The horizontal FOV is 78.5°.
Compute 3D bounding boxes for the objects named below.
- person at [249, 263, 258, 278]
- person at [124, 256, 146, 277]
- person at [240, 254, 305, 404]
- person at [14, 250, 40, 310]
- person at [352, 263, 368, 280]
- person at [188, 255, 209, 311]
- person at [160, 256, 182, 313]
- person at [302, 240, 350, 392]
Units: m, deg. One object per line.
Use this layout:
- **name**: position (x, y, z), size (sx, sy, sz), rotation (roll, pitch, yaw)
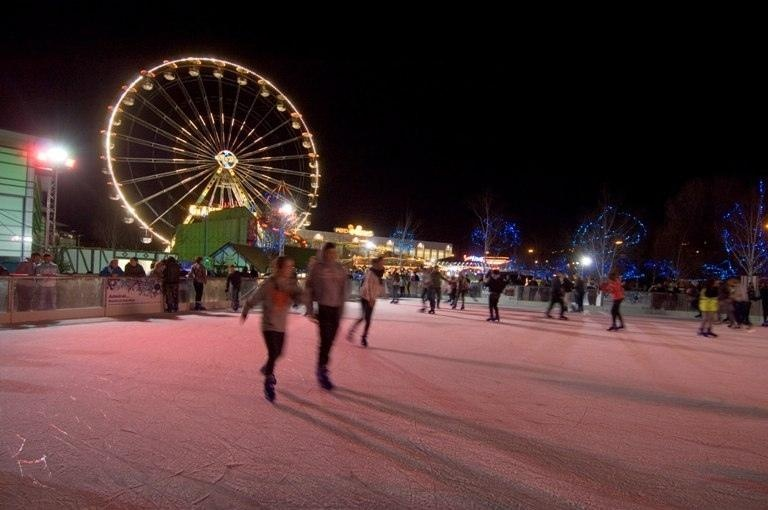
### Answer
- **person**: position (-7.069, 0.901, 25.351), size (0.443, 0.551, 0.958), rotation (3, -8, 0)
- **person**: position (-10.674, 0.536, 19.928), size (0.761, 1.334, 0.700), rotation (5, 32, -22)
- **person**: position (-1.685, 1.115, 7.343), size (0.680, 2.154, 0.765), rotation (8, 10, 38)
- **person**: position (-10.010, 0.766, 13.128), size (0.608, 1.472, 1.033), rotation (-5, 10, -37)
- **person**: position (-2.054, 1.486, 37.519), size (1.487, 0.722, 2.092), rotation (1, -3, -4)
- **person**: position (-6.812, 1.095, 17.063), size (0.545, 2.115, 1.428), rotation (-2, 9, -23)
- **person**: position (-7.432, 1.092, 16.296), size (0.592, 1.873, 0.970), rotation (-2, 9, -25)
- **person**: position (-0.985, 1.015, 7.792), size (0.645, 2.349, 0.836), rotation (3, 8, 10)
